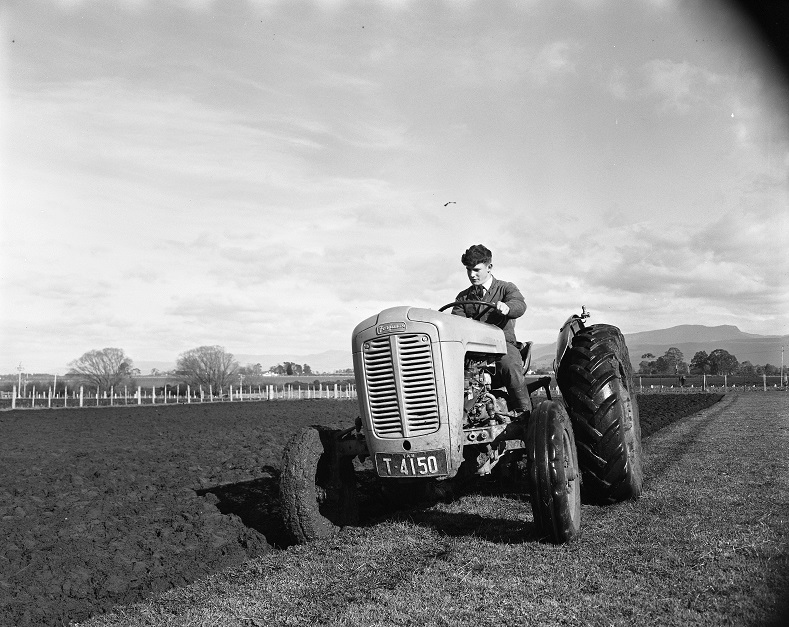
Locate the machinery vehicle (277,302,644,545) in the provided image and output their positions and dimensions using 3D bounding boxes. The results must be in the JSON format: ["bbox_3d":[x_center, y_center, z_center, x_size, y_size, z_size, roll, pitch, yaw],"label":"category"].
[{"bbox_3d":[0.956,1.110,7.015,3.289,2.598,4.749,-9,-10,30],"label":"machinery vehicle"}]
